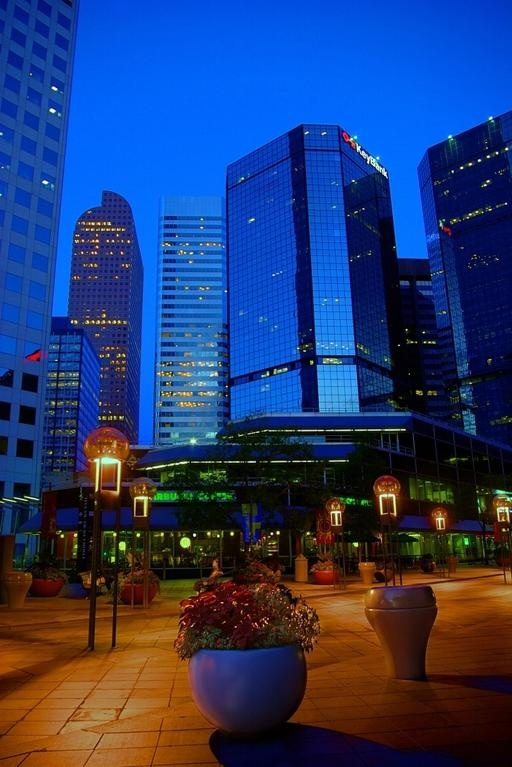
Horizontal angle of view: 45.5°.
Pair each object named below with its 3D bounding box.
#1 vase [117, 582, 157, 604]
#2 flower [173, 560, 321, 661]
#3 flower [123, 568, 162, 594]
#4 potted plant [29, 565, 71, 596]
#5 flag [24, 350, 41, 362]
[{"bbox_3d":[-3.606,6.359,18.526,0.982,0.572,0.982,-1,-23,-3],"label":"vase"},{"bbox_3d":[-0.047,1.729,4.470,0.832,0.480,0.830,4,-26,-9],"label":"flower"},{"bbox_3d":[-3.447,6.075,18.839,1.162,0.673,1.085,4,-11,-26],"label":"flower"},{"bbox_3d":[-7.736,7.310,22.854,1.394,0.905,1.391,3,-26,-11],"label":"potted plant"},{"bbox_3d":[-17.714,-2.244,48.772,0.196,1.183,1.568,-11,-14,30],"label":"flag"}]
